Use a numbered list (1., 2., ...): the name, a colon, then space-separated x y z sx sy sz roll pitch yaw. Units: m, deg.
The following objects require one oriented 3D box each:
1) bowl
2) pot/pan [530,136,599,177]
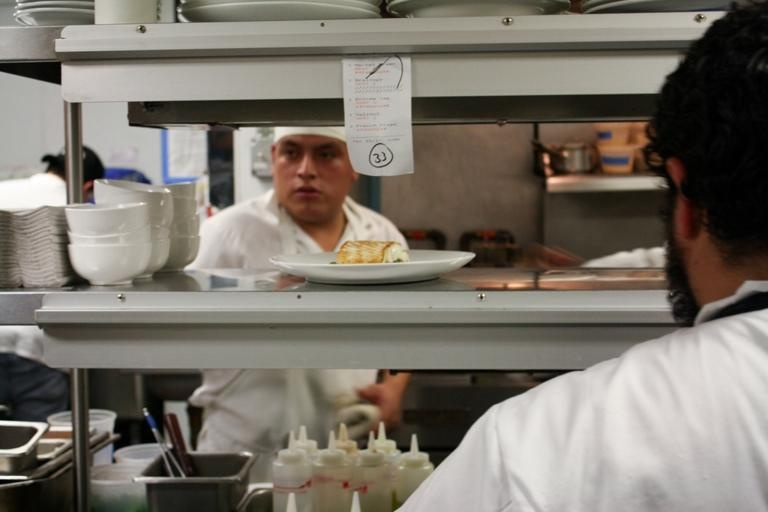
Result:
1. bowl: -0.507 -0.038 1.921 0.160 0.121 0.252 2 6 7
2. pot/pan: 0.669 -0.366 3.511 0.221 0.143 0.128 -4 10 2
